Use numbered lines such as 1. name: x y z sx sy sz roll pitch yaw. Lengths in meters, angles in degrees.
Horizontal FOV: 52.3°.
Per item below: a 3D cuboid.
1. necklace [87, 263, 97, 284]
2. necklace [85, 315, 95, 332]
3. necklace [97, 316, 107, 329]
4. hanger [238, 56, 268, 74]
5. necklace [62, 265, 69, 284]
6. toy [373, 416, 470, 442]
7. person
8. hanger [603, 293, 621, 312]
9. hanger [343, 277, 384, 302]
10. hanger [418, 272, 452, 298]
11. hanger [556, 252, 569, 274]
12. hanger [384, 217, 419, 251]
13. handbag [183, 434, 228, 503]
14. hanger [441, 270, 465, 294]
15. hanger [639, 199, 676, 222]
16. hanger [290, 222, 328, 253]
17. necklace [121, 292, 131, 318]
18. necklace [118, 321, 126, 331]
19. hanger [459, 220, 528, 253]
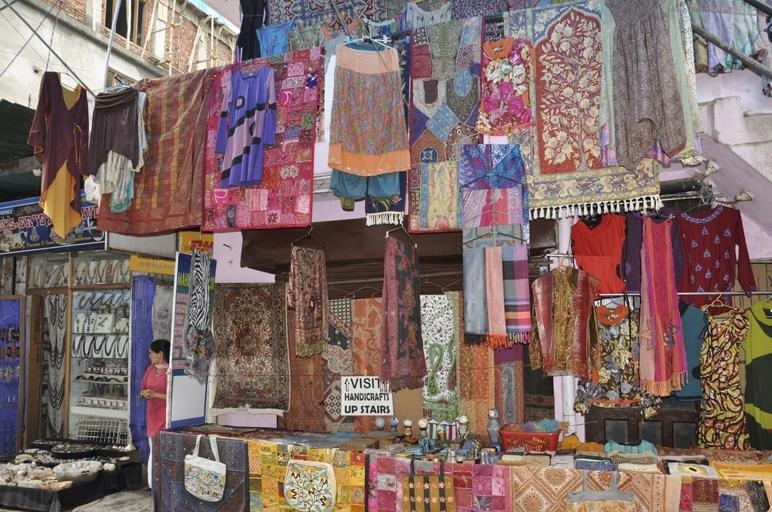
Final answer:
1. necklace: -4.586 0.257 12.264 0.183 0.343 0.076 -6 -12 30
2. necklace: -4.593 1.041 12.158 0.185 0.266 0.094 -1 -19 10
3. necklace: -4.386 1.039 12.077 0.171 0.263 0.051 -5 -11 25
4. hanger: -1.593 -2.318 9.505 0.387 0.183 0.076 -4 -11 17
5. necklace: -5.111 0.297 12.522 0.071 0.319 0.212 11 -20 -42
6. toy: 0.409 2.066 9.331 1.174 0.466 0.369 1 -17 4
7. person: -2.916 1.896 9.956 0.387 2.021 0.360 1 5 2
8. hanger: 2.729 0.563 9.503 0.193 0.150 0.021 0 -8 4
9. hanger: -0.287 0.413 9.915 0.489 0.252 0.076 -3 -11 13
10. hanger: 0.619 0.352 9.666 0.267 0.225 0.032 3 7 11
11. hanger: 2.148 0.089 9.505 0.160 0.220 0.239 1 -25 0
12. hanger: 0.194 -0.326 9.322 0.019 0.416 0.595 -4 19 -37
13. handbag: -2.169 2.561 9.410 0.524 0.784 0.136 -2 -10 11
14. hanger: 0.827 0.314 9.583 0.258 0.265 0.034 2 1 19
15. hanger: 3.389 -0.547 9.581 0.445 0.139 0.469 0 36 30
16. hanger: -0.978 -0.240 9.899 0.443 0.374 0.367 1 -11 -6
17. necklace: -4.013 0.744 12.097 0.201 0.443 0.056 -9 -13 39
18. necklace: -4.052 1.072 12.012 0.140 0.156 0.066 -2 -14 18
19. hanger: 1.212 -0.223 8.691 0.713 0.231 0.110 -2 -11 12
